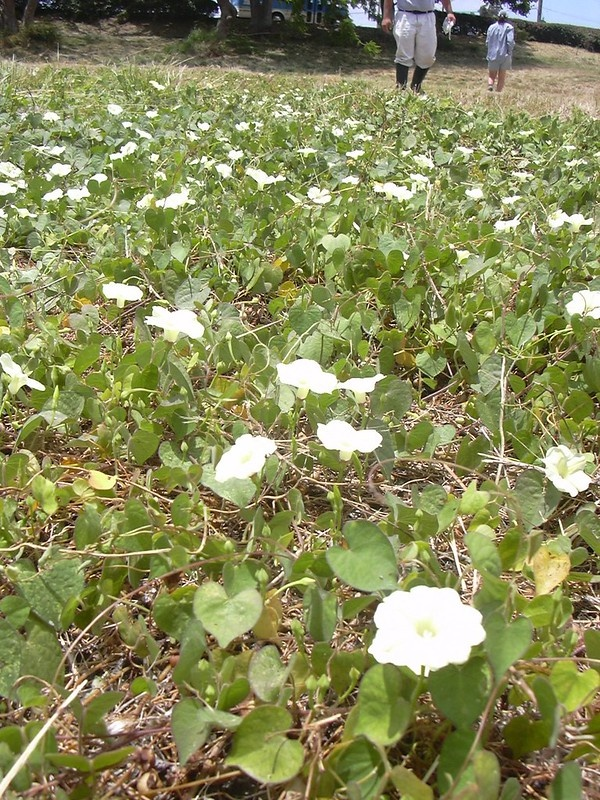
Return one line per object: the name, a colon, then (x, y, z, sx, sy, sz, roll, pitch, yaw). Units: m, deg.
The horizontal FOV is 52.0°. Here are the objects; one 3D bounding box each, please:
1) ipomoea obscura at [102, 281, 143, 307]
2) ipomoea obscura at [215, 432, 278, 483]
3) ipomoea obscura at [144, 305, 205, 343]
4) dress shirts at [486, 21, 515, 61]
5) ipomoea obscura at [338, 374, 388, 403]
ipomoea obscura: (-0.538, -0.304, 1.849, 0.094, 0.100, 0.148, -11, 29, -23)
ipomoea obscura: (-0.114, 0.104, 1.201, 0.105, 0.100, 0.100, 12, 15, 40)
ipomoea obscura: (-0.323, -0.191, 1.559, 0.137, 0.092, 0.139, -8, 28, -19)
dress shirts: (3.804, -6.843, 11.781, 0.472, 0.704, 0.598, 6, 27, 9)
ipomoea obscura: (0.144, -0.036, 1.436, 0.090, 0.041, 0.086, -8, 7, 32)
